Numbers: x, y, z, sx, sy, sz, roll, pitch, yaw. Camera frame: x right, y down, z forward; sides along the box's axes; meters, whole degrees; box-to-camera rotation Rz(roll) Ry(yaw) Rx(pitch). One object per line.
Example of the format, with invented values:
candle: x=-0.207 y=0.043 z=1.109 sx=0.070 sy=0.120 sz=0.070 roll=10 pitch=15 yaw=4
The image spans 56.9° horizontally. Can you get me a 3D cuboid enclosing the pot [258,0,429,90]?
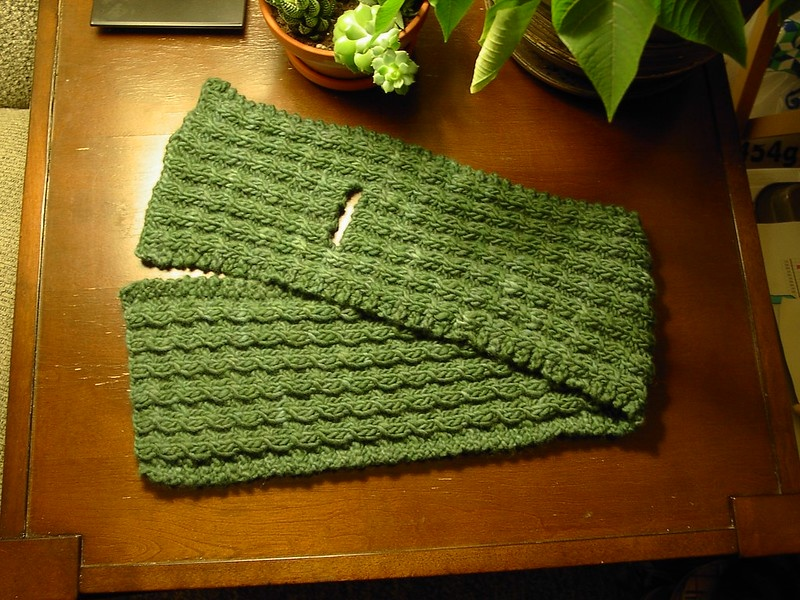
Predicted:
pot: x=-0.074 y=-0.397 z=1.110 sx=0.194 sy=0.077 sz=0.166 roll=-13 pitch=90 yaw=-1

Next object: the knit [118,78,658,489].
knit: x=-0.027 y=-0.066 z=1.155 sx=0.820 sy=0.081 sz=0.637 roll=-6 pitch=78 yaw=-5
